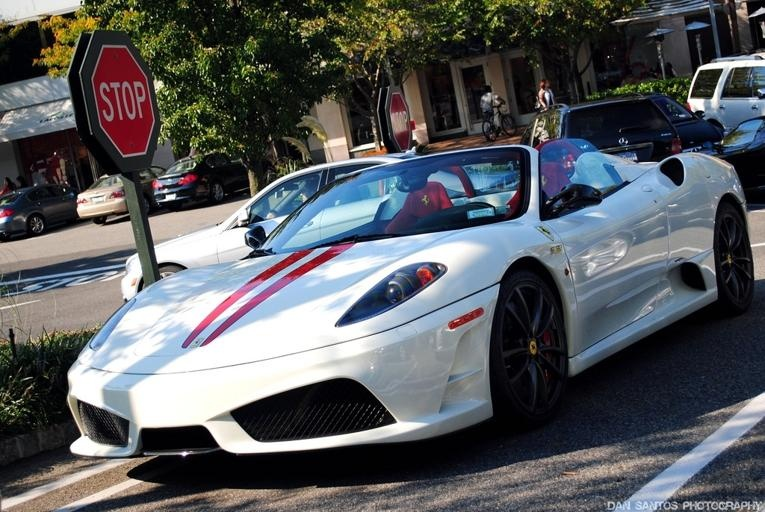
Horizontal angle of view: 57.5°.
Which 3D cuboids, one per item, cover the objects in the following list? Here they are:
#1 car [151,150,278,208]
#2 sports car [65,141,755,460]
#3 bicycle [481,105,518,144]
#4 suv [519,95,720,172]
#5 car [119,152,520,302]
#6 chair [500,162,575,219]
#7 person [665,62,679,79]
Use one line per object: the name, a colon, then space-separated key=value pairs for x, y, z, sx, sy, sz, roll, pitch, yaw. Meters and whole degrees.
car: x=-5.923 y=-2.961 z=26.806 sx=2.194 sy=1.955 sz=5.479 roll=-1 pitch=13 yaw=41
sports car: x=0.336 y=0.214 z=5.581 sx=5.475 sy=1.948 sz=2.092 roll=-14 pitch=11 yaw=-29
bicycle: x=5.271 y=-5.929 z=31.366 sx=1.035 sy=1.389 sz=2.126 roll=3 pitch=22 yaw=38
suv: x=3.932 y=-2.450 z=13.530 sx=2.138 sy=1.510 sz=3.837 roll=-5 pitch=12 yaw=-14
car: x=-1.644 y=-0.510 z=10.140 sx=4.583 sy=1.729 sz=2.101 roll=-8 pitch=5 yaw=6
chair: x=1.286 y=-0.617 z=5.697 sx=0.633 sy=0.260 sz=0.392 roll=-31 pitch=42 yaw=-8
person: x=12.411 y=-8.014 z=29.900 sx=0.450 sy=0.701 sz=3.864 roll=-3 pitch=11 yaw=24
